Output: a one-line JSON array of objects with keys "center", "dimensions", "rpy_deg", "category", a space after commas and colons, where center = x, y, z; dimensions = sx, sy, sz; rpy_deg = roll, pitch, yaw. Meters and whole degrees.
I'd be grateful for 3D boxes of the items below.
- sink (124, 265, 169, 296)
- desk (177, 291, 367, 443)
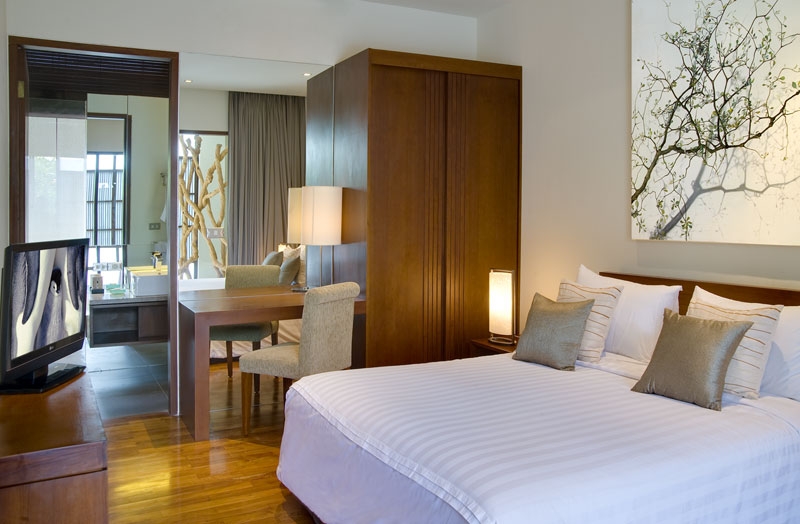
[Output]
[{"center": [-2.174, 0.159, 4.824], "dimensions": [0.274, 0.179, 0.278], "rpy_deg": [0, 1, -31], "category": "sink"}, {"center": [-1.254, 0.609, 4.906], "dimensions": [1.858, 1.251, 1.000], "rpy_deg": [-1, 1, -37], "category": "desk"}]
